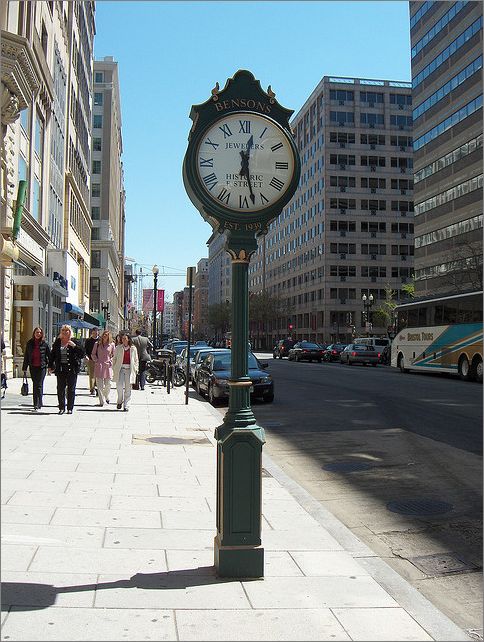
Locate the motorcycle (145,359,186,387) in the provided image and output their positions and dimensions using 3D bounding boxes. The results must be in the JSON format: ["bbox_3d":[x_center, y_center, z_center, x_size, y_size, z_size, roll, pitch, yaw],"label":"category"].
[{"bbox_3d":[-2.810,1.922,23.959,1.444,1.113,0.864,0,-4,13],"label":"motorcycle"}]

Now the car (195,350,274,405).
[{"bbox_3d":[-0.288,1.526,17.769,1.165,1.055,2.782,0,-5,-11],"label":"car"}]

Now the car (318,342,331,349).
[{"bbox_3d":[8.767,2.654,69.300,0.886,0.799,1.556,0,-4,0],"label":"car"}]

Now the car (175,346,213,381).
[{"bbox_3d":[-1.857,1.541,24.537,0.848,0.964,1.994,1,-5,-14],"label":"car"}]

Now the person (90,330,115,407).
[{"bbox_3d":[-3.299,1.138,15.517,0.496,1.767,1.199,1,-2,-12],"label":"person"}]

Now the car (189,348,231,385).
[{"bbox_3d":[-1.372,1.583,23.031,0.902,0.998,1.801,1,4,-8],"label":"car"}]

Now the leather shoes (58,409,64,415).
[{"bbox_3d":[-3.557,1.809,12.924,0.081,0.130,0.290,0,1,-15],"label":"leather shoes"}]

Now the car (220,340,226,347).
[{"bbox_3d":[-2.969,3.628,100.397,0.768,0.953,1.581,-1,-5,-3],"label":"car"}]

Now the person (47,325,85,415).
[{"bbox_3d":[-3.486,0.995,12.965,0.644,1.760,0.526,1,-2,-18],"label":"person"}]

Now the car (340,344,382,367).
[{"bbox_3d":[7.769,2.333,44.225,1.676,1.420,2.752,2,-2,-32],"label":"car"}]

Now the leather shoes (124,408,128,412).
[{"bbox_3d":[-2.524,1.952,14.273,0.077,0.058,0.148,1,-5,-8],"label":"leather shoes"}]

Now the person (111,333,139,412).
[{"bbox_3d":[-2.582,1.143,14.488,0.515,1.702,0.827,1,-2,-11],"label":"person"}]

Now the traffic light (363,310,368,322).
[{"bbox_3d":[14.299,-0.593,76.076,0.792,1.366,0.280,1,4,28],"label":"traffic light"}]
